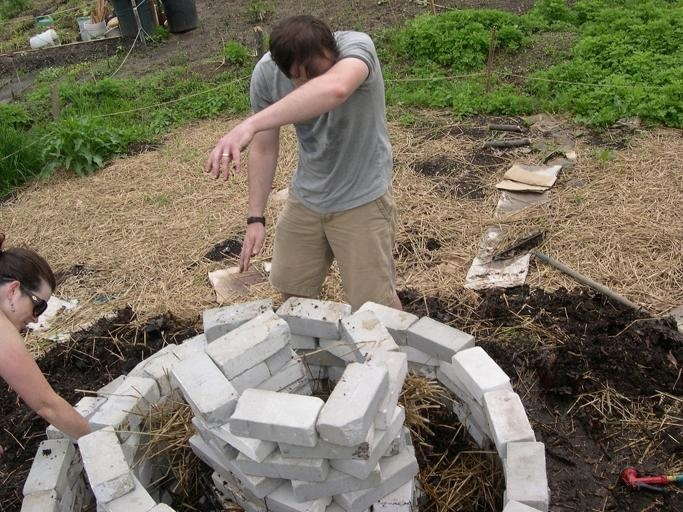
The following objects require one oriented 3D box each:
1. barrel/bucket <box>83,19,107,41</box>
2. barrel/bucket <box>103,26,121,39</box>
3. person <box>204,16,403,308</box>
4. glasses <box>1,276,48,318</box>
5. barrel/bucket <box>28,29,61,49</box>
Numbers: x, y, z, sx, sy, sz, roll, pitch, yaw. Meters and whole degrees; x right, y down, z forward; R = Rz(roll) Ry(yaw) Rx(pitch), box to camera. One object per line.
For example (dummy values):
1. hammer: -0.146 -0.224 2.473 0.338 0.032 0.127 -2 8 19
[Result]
1. barrel/bucket: -6.062 -5.462 13.724 0.538 0.575 0.521 1 28 -1
2. barrel/bucket: -5.590 -5.433 13.736 0.354 0.271 0.365 -1 27 0
3. person: -0.198 -0.514 3.993 1.104 2.146 1.028 -5 35 5
4. glasses: -2.053 0.289 3.556 0.075 0.252 0.238 -45 8 -14
5. barrel/bucket: -7.494 -5.434 14.171 0.710 0.340 0.652 -6 36 4
